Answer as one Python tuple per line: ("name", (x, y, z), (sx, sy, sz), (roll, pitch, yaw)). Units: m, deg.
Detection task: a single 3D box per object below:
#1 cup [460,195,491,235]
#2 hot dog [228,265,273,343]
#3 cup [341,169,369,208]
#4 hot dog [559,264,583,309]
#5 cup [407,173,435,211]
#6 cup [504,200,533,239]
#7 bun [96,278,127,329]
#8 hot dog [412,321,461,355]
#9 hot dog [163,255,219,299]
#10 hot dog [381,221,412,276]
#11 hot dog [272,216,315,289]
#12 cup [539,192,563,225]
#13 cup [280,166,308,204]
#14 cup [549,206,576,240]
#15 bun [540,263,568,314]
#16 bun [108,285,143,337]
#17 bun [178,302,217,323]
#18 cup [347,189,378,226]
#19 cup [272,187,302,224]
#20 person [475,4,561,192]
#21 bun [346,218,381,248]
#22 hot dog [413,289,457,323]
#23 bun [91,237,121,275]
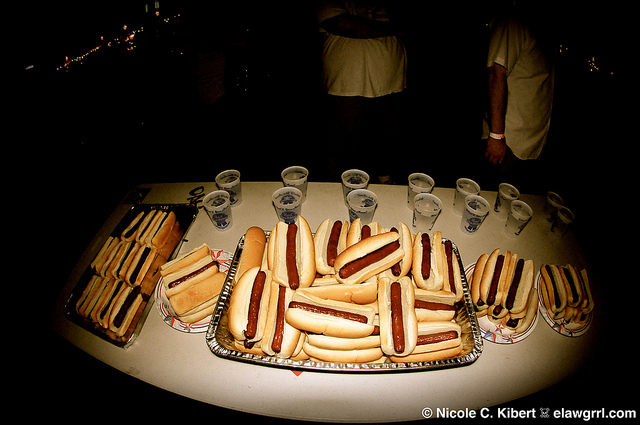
("cup", (2.128, 0.052, 6.077), (0.334, 0.519, 0.304), (-3, 34, 2))
("hot dog", (-0.878, 1.161, 5.443), (0.460, 0.253, 0.863), (5, 73, -4))
("cup", (0.457, -0.334, 6.337), (0.443, 0.480, 0.470), (-1, 51, 1))
("hot dog", (3.256, 0.966, 5.663), (0.125, 0.313, 0.432), (-14, 82, 12))
("cup", (1.346, -0.315, 6.389), (0.426, 0.454, 0.442), (-1, 50, 1))
("cup", (2.739, 0.114, 6.086), (0.298, 0.481, 0.267), (13, 37, 23))
("bun", (-2.721, 1.168, 5.640), (0.295, 0.127, 0.529), (21, 76, 7))
("hot dog", (1.433, 1.581, 5.399), (0.246, 0.822, 0.391), (30, 55, -19))
("hot dog", (-1.665, 0.817, 5.661), (0.582, 0.178, 0.435), (-21, 44, -10))
("hot dog", (0.984, 0.445, 5.542), (0.335, 0.220, 0.677), (-8, 73, 27))
("hot dog", (-0.346, 0.522, 5.539), (0.441, 0.272, 0.828), (-6, 64, -1))
("cup", (3.248, -0.031, 6.180), (0.235, 0.365, 0.237), (3, 50, -3))
("cup", (-0.326, -0.387, 6.412), (0.437, 0.473, 0.456), (-1, 49, 1))
("cup", (3.426, 0.139, 6.173), (0.276, 0.467, 0.290), (-5, 39, 4))
("bun", (3.031, 0.975, 5.656), (0.234, 0.138, 0.530), (-7, 62, -4))
("bun", (-2.515, 1.276, 5.622), (0.273, 0.367, 0.480), (14, 38, 25))
("bun", (-1.547, 1.305, 5.552), (0.374, 0.075, 0.234), (-22, 56, -5))
("cup", (0.531, -0.085, 6.091), (0.435, 0.463, 0.461), (0, 52, -1))
("cup", (-0.451, -0.121, 6.044), (0.436, 0.358, 0.463), (-2, 50, 2))
("person", (3.216, -1.904, 7.111), (1.110, 2.599, 0.873), (7, 36, 17))
("bun", (0.499, 0.260, 5.665), (0.310, 0.139, 0.406), (1, 83, 2))
("hot dog", (1.395, 1.177, 5.390), (0.473, 0.172, 0.380), (3, 65, -9))
("bun", (-2.895, 0.601, 5.991), (0.387, 0.106, 0.397), (27, 75, 17))
